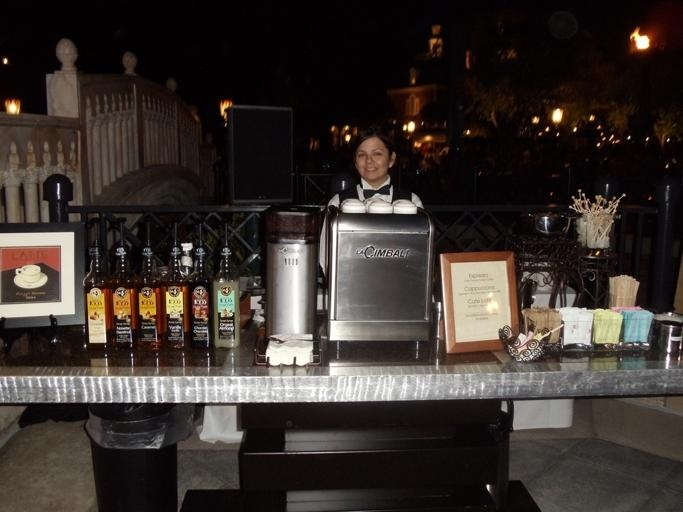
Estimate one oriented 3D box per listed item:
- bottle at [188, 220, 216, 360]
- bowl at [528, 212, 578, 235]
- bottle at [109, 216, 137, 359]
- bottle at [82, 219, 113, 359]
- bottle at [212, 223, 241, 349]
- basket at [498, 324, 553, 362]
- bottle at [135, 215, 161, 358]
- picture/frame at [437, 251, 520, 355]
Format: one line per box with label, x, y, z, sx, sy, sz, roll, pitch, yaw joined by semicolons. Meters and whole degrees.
bottle;-0.557;0.155;2.369;0.090;0.435;0.198;-1;5;-14
bowl;1.165;-0.184;3.378;0.219;0.124;0.181;1;4;16
bottle;-0.871;0.147;2.394;0.094;0.419;0.200;-2;5;-21
bottle;-0.963;0.150;2.366;0.099;0.436;0.184;-2;5;-23
bottle;-0.461;0.151;2.392;0.103;0.411;0.178;-1;5;-11
basket;0.710;0.332;2.343;0.188;0.115;0.224;-4;6;20
bottle;-0.766;0.150;2.387;0.094;0.415;0.187;-2;5;-19
picture/frame;0.534;0.185;2.360;0.363;0.455;0.032;-4;-1;-7
